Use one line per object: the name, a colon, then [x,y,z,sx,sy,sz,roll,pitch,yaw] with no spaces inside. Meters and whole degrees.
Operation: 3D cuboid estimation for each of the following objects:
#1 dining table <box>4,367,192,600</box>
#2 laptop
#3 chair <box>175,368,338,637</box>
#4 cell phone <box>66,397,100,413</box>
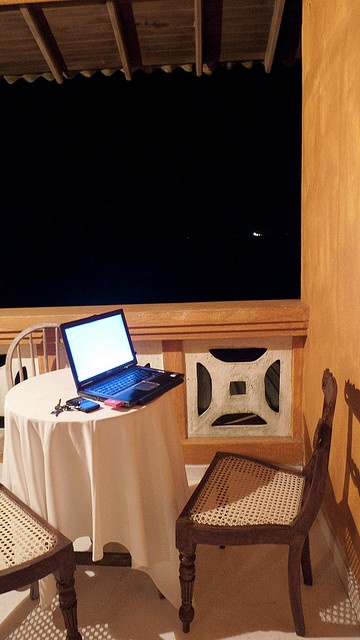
dining table: [-0.195,0.417,1.684,0.566,0.878,0.641,-5,22,-11]
laptop: [-0.198,0.117,1.623,0.367,0.277,0.343,-12,13,-42]
chair: [0.240,0.558,1.509,0.464,0.801,0.396,0,8,8]
cell phone: [-0.307,0.262,1.470,0.078,0.020,0.047,18,26,41]
